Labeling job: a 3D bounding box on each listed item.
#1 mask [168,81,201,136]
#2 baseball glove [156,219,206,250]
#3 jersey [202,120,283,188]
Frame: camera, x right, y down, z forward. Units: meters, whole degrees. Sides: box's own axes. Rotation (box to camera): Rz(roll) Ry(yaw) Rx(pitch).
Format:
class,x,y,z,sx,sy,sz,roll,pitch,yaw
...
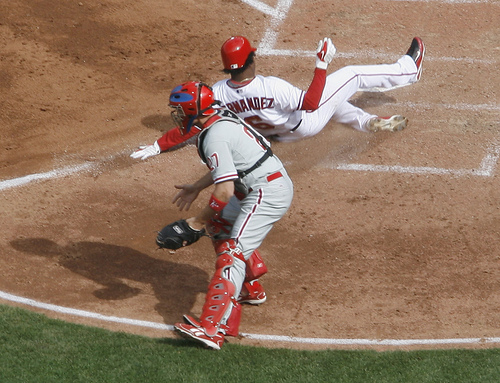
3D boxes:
class,x,y,z,sx,sy,sz,roll,pitch,yaw
mask,-0.766,-1.176,11.348,0.761,0.577,0.645,-5,105,12
baseball glove,-0.988,0.594,11.284,0.750,0.278,0.375,-9,46,-30
jersey,-0.264,-0.495,11.145,0.941,0.558,1.032,-38,82,-7
